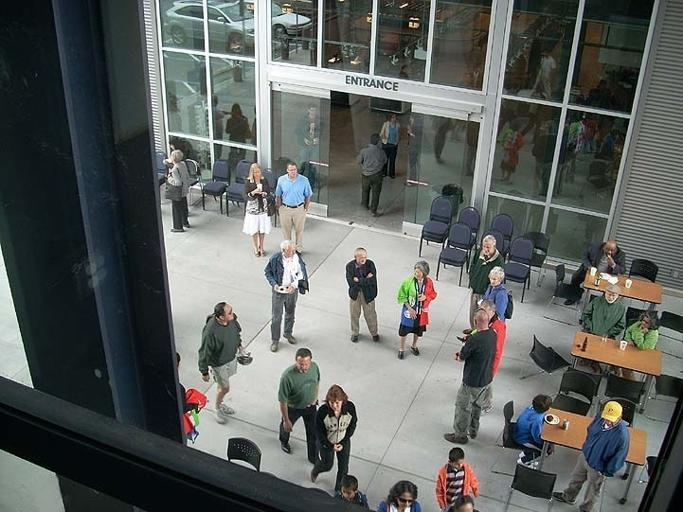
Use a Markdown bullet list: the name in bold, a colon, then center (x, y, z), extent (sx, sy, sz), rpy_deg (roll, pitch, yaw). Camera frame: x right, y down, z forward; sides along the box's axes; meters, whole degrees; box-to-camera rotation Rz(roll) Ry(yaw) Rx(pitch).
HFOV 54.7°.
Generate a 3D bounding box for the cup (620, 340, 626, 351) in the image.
- **cup**: center (4.482, 1.423, 10.550), extent (0.080, 0.140, 0.076), rpy_deg (-5, 37, 4)

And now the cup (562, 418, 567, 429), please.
- **cup**: center (2.992, 2.251, 8.872), extent (0.051, 0.100, 0.098), rpy_deg (6, 41, 10)

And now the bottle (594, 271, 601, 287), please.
- **bottle**: center (4.676, 0.413, 12.079), extent (0.164, 0.286, 0.162), rpy_deg (1, -5, 0)

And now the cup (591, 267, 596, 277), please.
- **cup**: center (4.657, 0.279, 12.265), extent (0.106, 0.135, 0.139), rpy_deg (-5, 24, -7)

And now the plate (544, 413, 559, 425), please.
- **plate**: center (2.891, 2.228, 9.059), extent (0.211, 0.098, 0.203), rpy_deg (1, 4, 23)

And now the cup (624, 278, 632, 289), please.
- **cup**: center (5.236, 0.484, 12.076), extent (0.129, 0.159, 0.134), rpy_deg (-3, 24, 1)

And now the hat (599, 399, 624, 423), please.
- **hat**: center (3.310, 1.901, 8.124), extent (0.218, 0.252, 0.224), rpy_deg (1, 4, 20)

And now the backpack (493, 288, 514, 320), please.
- **backpack**: center (2.552, 0.759, 10.496), extent (0.334, 0.586, 0.586), rpy_deg (4, 47, 11)

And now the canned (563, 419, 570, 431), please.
- **canned**: center (3.037, 2.269, 8.876), extent (0.068, 0.126, 0.123), rpy_deg (15, 43, 21)
